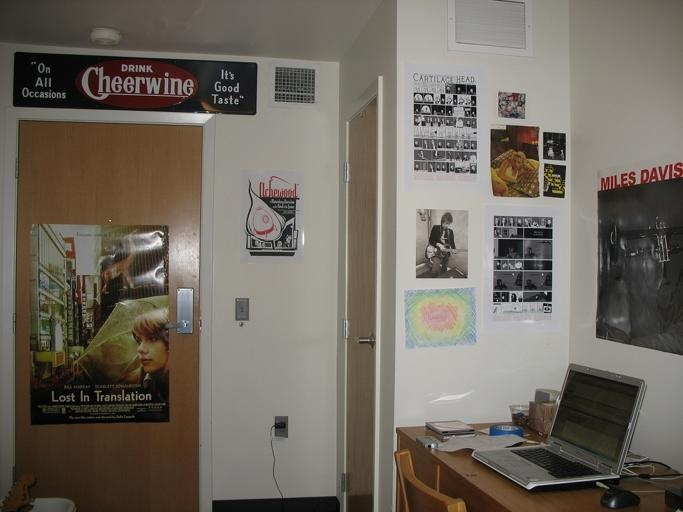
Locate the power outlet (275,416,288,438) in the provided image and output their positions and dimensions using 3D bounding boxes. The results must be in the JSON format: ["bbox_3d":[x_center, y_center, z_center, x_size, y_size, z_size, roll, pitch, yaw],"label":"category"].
[{"bbox_3d":[-0.421,1.178,3.754,0.112,0.139,0.030,2,-3,-6],"label":"power outlet"}]

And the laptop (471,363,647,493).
[{"bbox_3d":[0.931,0.725,2.274,0.464,0.357,0.495,-3,-1,-11],"label":"laptop"}]

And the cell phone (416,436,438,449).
[{"bbox_3d":[0.397,0.866,2.516,0.049,0.020,0.095,2,-1,-4],"label":"cell phone"}]

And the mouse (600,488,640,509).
[{"bbox_3d":[1.043,0.895,2.035,0.109,0.044,0.071,4,-6,-20],"label":"mouse"}]

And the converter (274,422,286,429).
[{"bbox_3d":[-0.429,1.169,3.754,0.083,0.043,0.013,-1,4,-2],"label":"converter"}]

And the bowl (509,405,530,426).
[{"bbox_3d":[0.907,0.807,2.760,0.080,0.073,0.091,3,-9,0],"label":"bowl"}]
